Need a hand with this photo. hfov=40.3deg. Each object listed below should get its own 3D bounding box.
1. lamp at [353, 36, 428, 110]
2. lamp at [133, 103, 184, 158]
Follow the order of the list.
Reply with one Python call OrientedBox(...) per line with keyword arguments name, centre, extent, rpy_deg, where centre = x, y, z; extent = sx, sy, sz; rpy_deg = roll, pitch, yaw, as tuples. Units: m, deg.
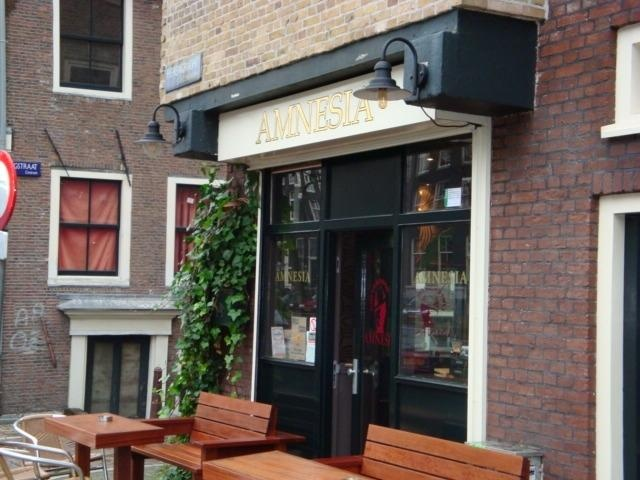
OrientedBox(name="lamp", centre=(0.602, -1.369, 7.377), extent=(0.624, 0.598, 0.485), rpy_deg=(11, -15, -32))
OrientedBox(name="lamp", centre=(-1.809, -1.255, 9.882), extent=(0.500, 0.612, 0.391), rpy_deg=(1, -9, -6))
